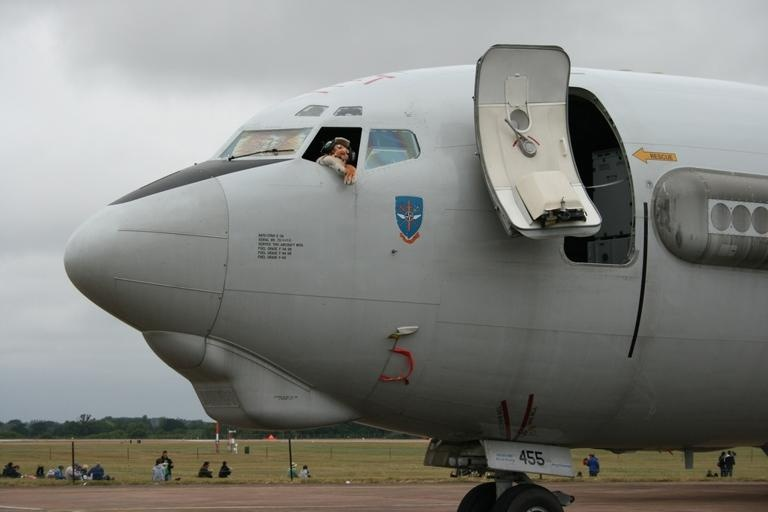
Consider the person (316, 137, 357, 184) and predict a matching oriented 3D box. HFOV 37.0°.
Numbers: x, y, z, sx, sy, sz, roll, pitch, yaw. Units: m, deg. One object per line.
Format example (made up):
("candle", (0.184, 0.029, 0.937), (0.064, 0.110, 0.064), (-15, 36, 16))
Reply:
("person", (-1.008, -2.181, 25.009), (0.792, 0.686, 1.278), (23, 8, -30))
